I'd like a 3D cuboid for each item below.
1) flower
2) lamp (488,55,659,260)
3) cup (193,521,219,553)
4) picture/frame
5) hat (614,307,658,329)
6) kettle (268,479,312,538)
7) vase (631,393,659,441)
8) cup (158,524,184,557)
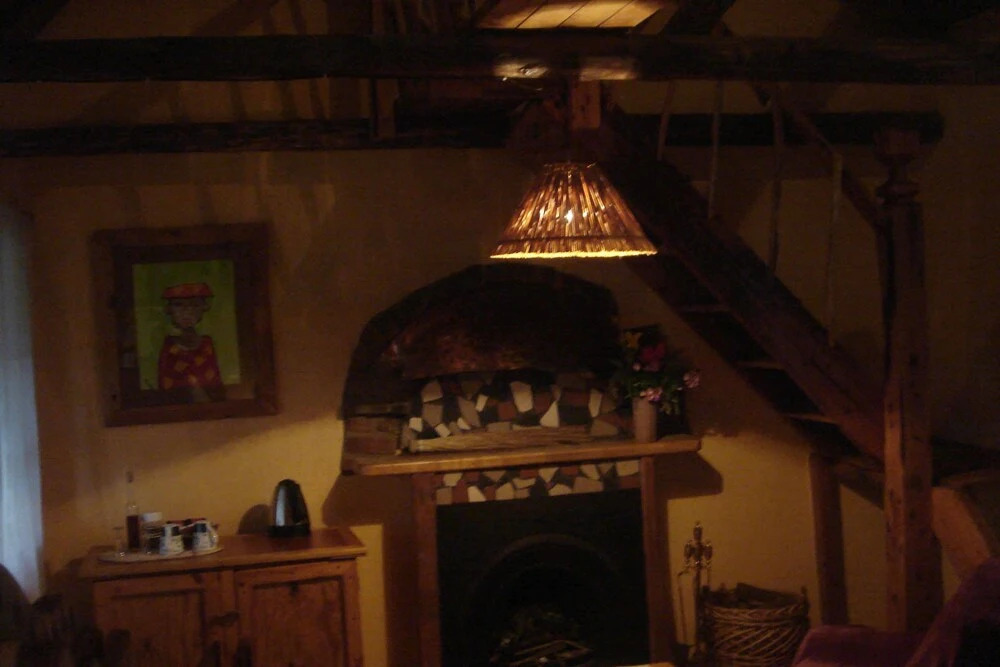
[{"bbox_3d":[1.065,0.218,6.945,0.564,0.179,0.627,-33,12,-6],"label":"flower"},{"bbox_3d":[0.386,-0.887,5.797,0.951,1.063,0.978,-11,-12,36],"label":"lamp"},{"bbox_3d":[-1.835,1.278,6.420,0.202,0.194,0.121,-2,-6,16],"label":"cup"},{"bbox_3d":[-2.150,-0.078,6.771,1.291,1.469,0.155,-3,0,-11],"label":"picture/frame"},{"bbox_3d":[0.932,-0.117,7.109,0.338,0.143,0.070,2,1,-3],"label":"hat"},{"bbox_3d":[-1.381,1.124,6.713,0.265,0.369,0.254,-1,1,14],"label":"kettle"},{"bbox_3d":[0.962,0.562,6.786,0.255,0.379,0.243,0,-5,6],"label":"vase"},{"bbox_3d":[-2.038,1.291,6.388,0.162,0.178,0.171,0,-5,0],"label":"cup"}]
